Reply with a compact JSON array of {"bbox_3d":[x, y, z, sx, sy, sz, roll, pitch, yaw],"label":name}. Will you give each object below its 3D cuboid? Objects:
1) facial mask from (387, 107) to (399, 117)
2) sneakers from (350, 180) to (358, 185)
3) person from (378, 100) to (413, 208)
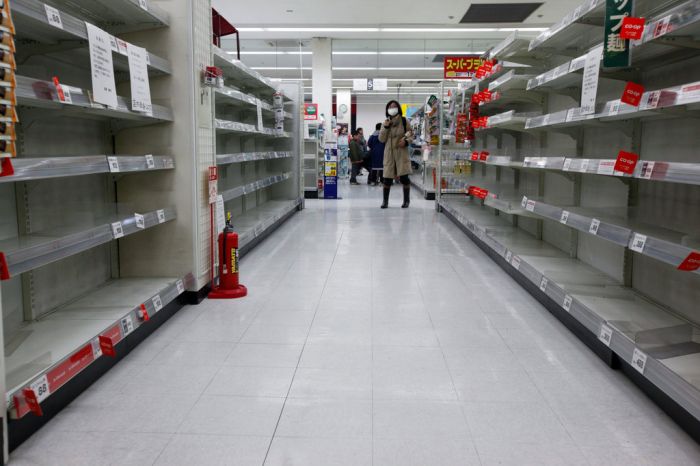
[{"bbox_3d":[0.875,-2.459,8.397,0.165,0.135,0.164,1,5,11],"label":"facial mask"},{"bbox_3d":[0.117,-1.942,15.899,0.353,0.135,0.109,-5,5,21],"label":"sneakers"},{"bbox_3d":[0.979,-1.668,8.662,0.726,2.184,0.640,-1,0,-2],"label":"person"}]
